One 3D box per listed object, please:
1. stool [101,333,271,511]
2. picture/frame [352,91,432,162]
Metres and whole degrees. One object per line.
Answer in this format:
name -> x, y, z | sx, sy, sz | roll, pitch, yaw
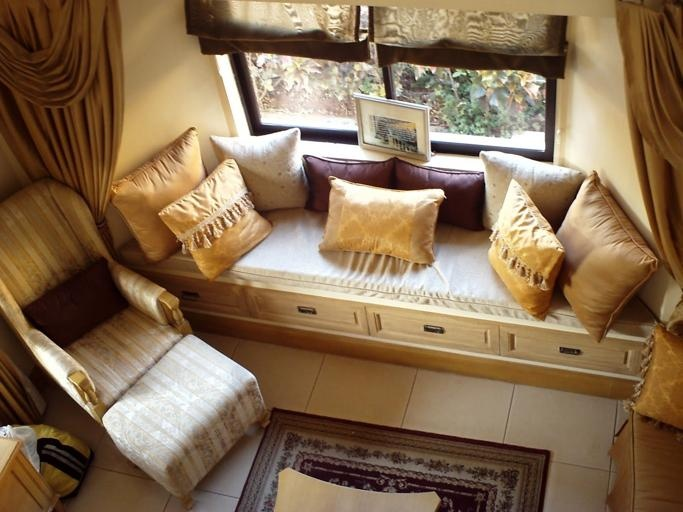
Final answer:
stool -> -0.849, 0.876, 2.749 | 0.517, 0.468, 0.682 | 25, 48, 34
picture/frame -> 0.321, -0.794, 3.040 | 0.445, 0.400, 0.035 | 16, 48, 23
